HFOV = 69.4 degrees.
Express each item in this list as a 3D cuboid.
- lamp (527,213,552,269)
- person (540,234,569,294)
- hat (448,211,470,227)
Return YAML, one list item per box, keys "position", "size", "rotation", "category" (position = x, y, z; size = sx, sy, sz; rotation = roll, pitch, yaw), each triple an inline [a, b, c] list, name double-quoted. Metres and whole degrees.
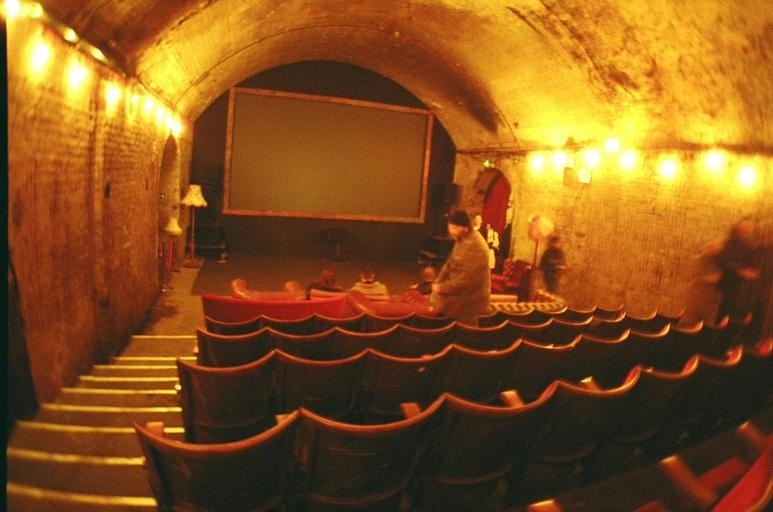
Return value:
- position: [2.751, -0.322, 10.134]
  size: [0.190, 0.828, 0.482]
  rotation: [15, -3, -37]
  category: "lamp"
- position: [2.952, 0.082, 9.918]
  size: [0.505, 1.175, 0.502]
  rotation: [6, -14, -3]
  category: "person"
- position: [0.872, -0.453, 6.616]
  size: [0.242, 0.172, 0.210]
  rotation: [3, 11, 1]
  category: "hat"
